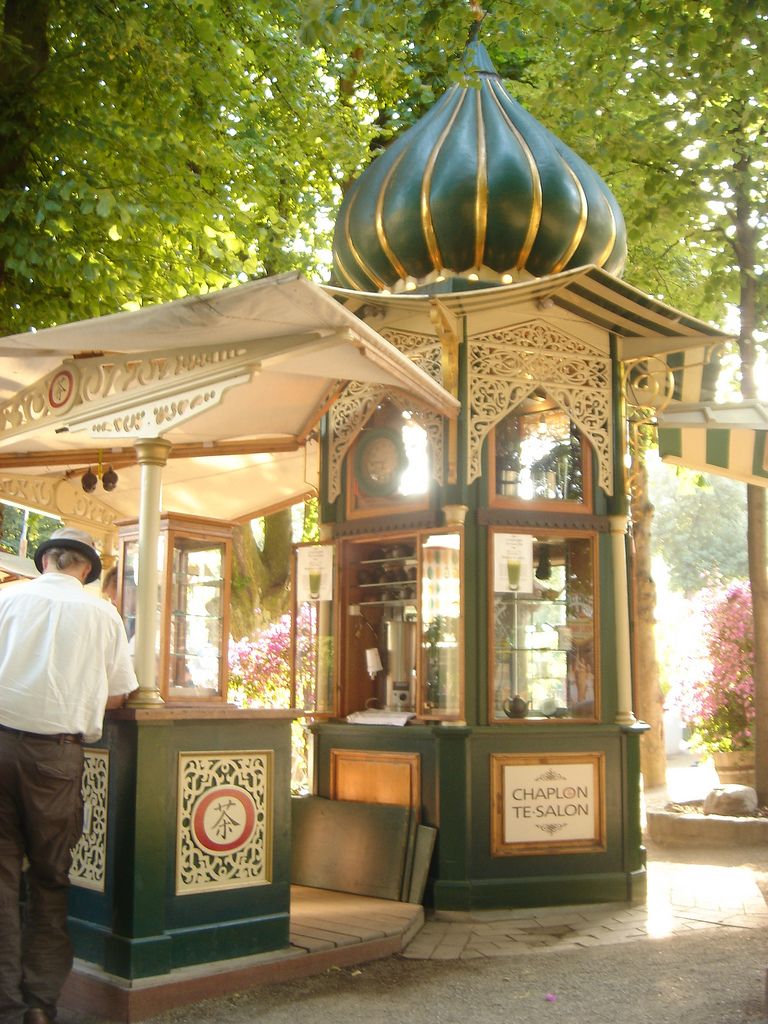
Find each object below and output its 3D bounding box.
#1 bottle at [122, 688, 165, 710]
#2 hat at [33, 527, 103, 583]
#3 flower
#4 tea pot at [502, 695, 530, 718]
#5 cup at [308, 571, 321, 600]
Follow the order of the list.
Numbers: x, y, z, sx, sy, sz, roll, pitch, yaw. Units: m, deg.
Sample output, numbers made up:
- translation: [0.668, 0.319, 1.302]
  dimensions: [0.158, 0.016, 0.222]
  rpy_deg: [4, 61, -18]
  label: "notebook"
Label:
- translation: [-1.098, 0.855, 4.061]
  dimensions: [0.117, 0.046, 0.110]
  rpy_deg: [3, -7, 0]
  label: "bottle"
- translation: [-1.411, 0.174, 4.144]
  dimensions: [0.264, 0.114, 0.292]
  rpy_deg: [-4, -46, 4]
  label: "hat"
- translation: [5.881, 2.668, 15.261]
  dimensions: [0.910, 2.910, 1.402]
  rpy_deg: [9, -17, -22]
  label: "flower"
- translation: [1.011, 1.492, 6.753]
  dimensions: [0.199, 0.167, 0.142]
  rpy_deg: [-2, -12, 13]
  label: "tea pot"
- translation: [-0.602, 0.647, 7.784]
  dimensions: [0.087, 0.221, 0.158]
  rpy_deg: [9, -17, -24]
  label: "cup"
